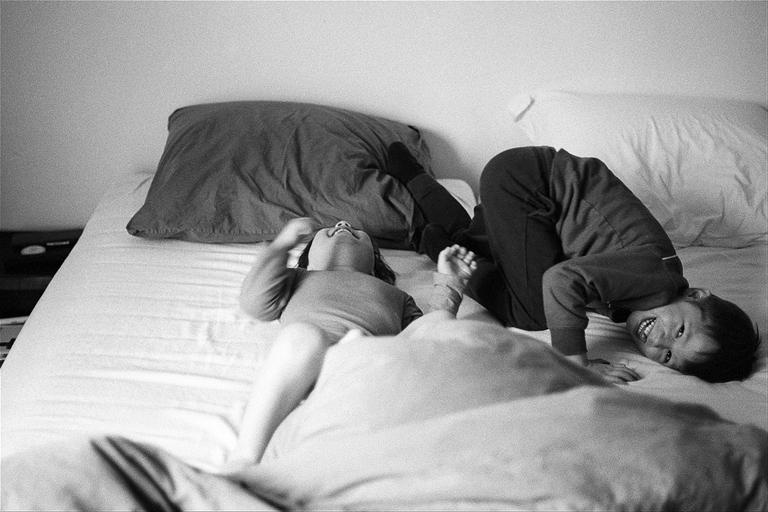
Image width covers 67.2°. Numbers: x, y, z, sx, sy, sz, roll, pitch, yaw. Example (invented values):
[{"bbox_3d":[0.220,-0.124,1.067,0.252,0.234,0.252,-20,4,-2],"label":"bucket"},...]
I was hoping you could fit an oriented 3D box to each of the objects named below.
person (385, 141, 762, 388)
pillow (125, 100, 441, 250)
[{"bbox_3d":[0.467,0.021,1.585,0.887,0.369,0.492,38,38,24],"label":"person"},{"bbox_3d":[-0.347,-0.265,1.838,0.698,0.198,0.580,5,36,-5],"label":"pillow"}]
